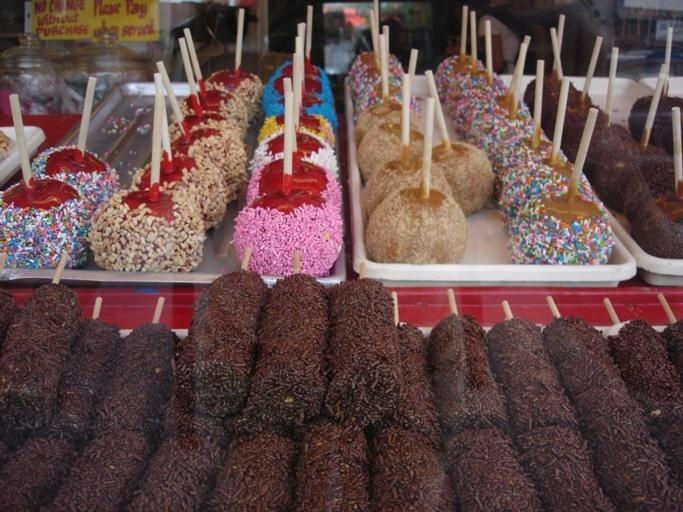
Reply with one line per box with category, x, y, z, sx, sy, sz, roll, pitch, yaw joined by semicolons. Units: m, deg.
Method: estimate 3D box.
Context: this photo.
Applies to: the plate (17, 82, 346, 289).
plate;-0.789;-0.315;2.206;0.897;0.107;0.923;0;20;-1
